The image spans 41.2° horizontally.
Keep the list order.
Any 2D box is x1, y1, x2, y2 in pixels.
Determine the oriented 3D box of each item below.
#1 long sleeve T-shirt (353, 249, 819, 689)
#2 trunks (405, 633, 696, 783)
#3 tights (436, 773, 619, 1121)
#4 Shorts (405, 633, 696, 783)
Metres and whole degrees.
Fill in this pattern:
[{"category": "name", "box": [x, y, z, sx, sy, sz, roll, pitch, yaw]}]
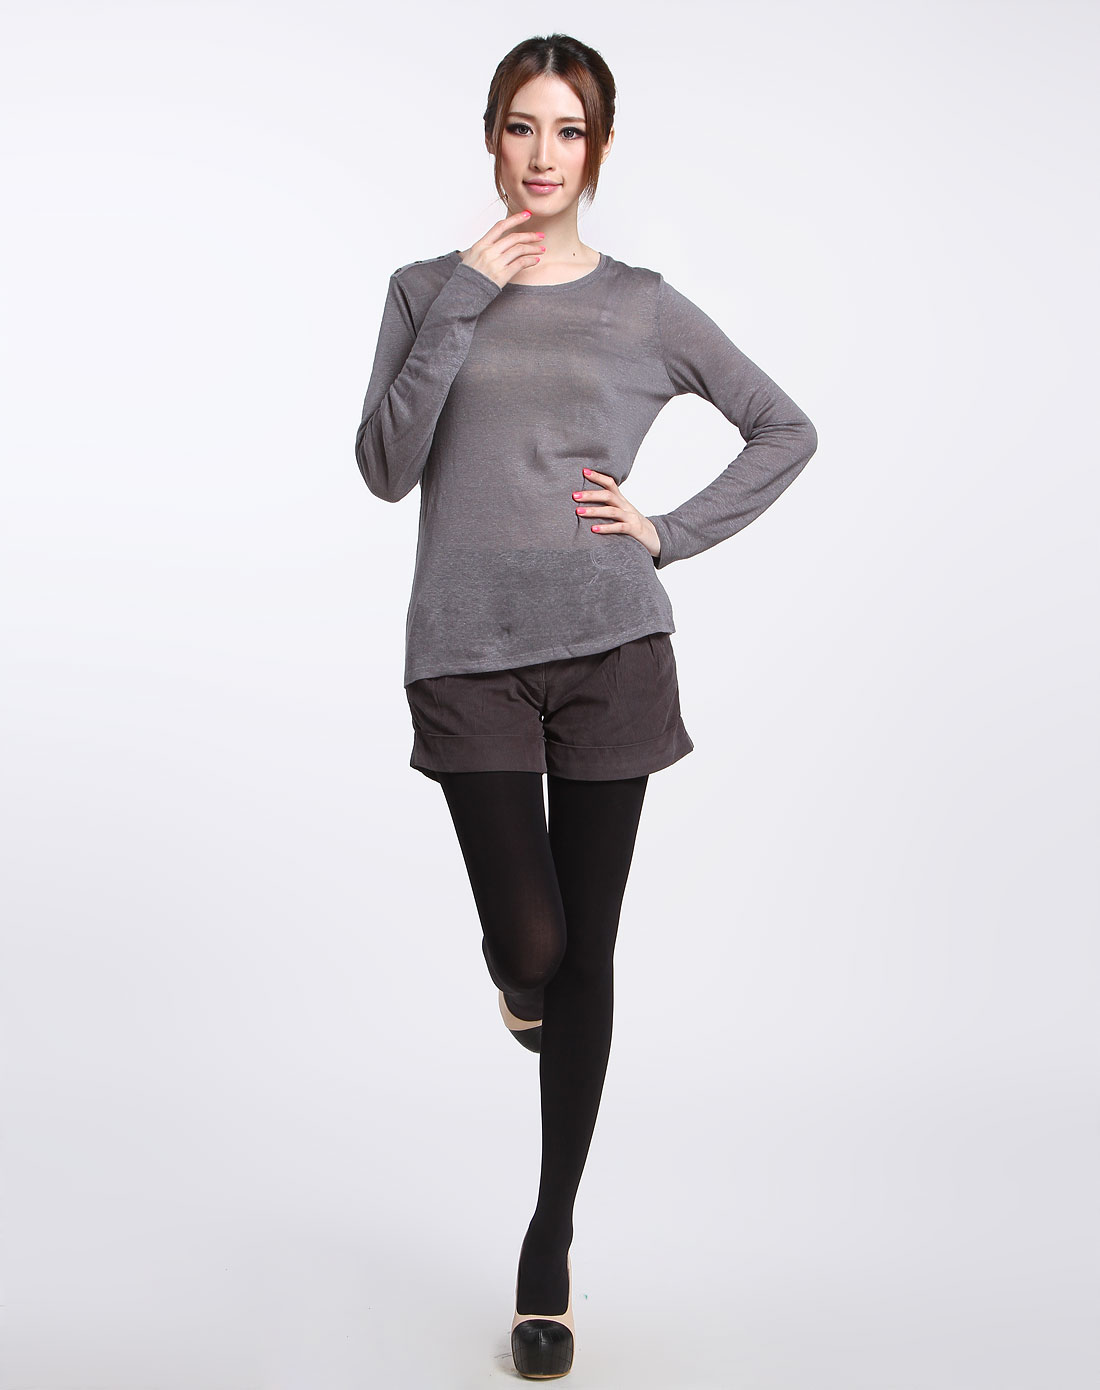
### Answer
[{"category": "long sleeve T-shirt", "box": [0.034, -0.324, 2.021, 0.754, 0.591, 0.272, -1, 14, -17]}, {"category": "trunks", "box": [0.010, 0.015, 2.001, 0.433, 0.261, 0.228, -1, -12, 13]}, {"category": "tights", "box": [-0.040, 0.296, 1.934, 0.131, 0.363, 0.162, -6, 14, -17]}, {"category": "Shorts", "box": [-0.011, -0.029, 1.985, 0.429, 0.267, 0.226, 0, 17, -2]}]
